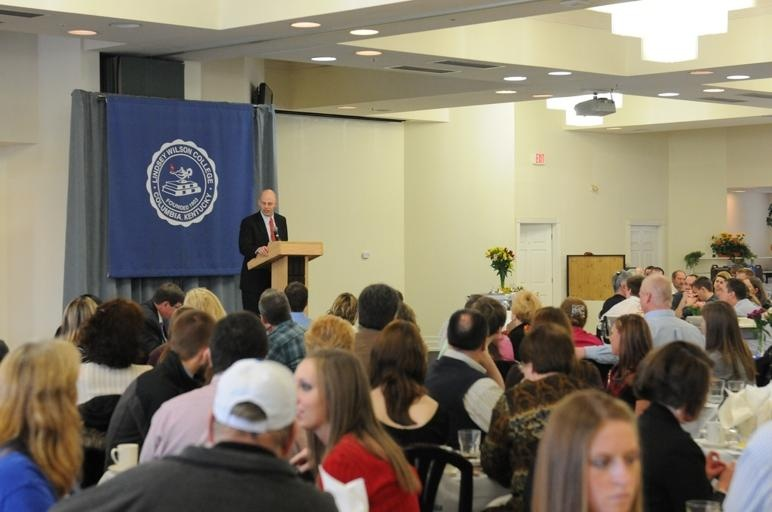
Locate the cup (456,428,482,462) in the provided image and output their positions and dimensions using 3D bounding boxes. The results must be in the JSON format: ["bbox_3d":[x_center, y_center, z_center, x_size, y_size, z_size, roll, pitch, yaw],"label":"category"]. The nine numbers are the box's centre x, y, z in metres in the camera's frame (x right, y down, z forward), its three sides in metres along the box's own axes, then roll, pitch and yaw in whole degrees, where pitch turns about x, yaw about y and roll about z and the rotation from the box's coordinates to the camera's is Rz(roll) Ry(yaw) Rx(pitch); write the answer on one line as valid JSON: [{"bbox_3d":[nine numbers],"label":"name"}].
[{"bbox_3d":[0.497,1.108,3.843,0.158,0.181,0.162,-2,-2,0],"label":"cup"}]

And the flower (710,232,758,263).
[{"bbox_3d":[7.978,-0.218,15.220,0.771,0.478,0.793,2,4,15],"label":"flower"}]

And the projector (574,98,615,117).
[{"bbox_3d":[2.896,-2.078,9.169,0.289,0.183,0.421,0,-2,-18],"label":"projector"}]

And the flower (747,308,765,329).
[{"bbox_3d":[3.456,0.580,6.113,0.151,0.172,0.157,-2,-9,1],"label":"flower"}]

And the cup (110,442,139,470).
[{"bbox_3d":[-1.347,1.020,3.344,0.213,0.147,0.092,3,5,44],"label":"cup"}]

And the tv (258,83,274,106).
[{"bbox_3d":[-1.719,-2.308,9.309,0.115,0.283,0.237,2,4,35],"label":"tv"}]

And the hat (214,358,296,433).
[{"bbox_3d":[-0.418,0.442,2.077,0.261,0.198,0.195,-2,4,-32],"label":"hat"}]
